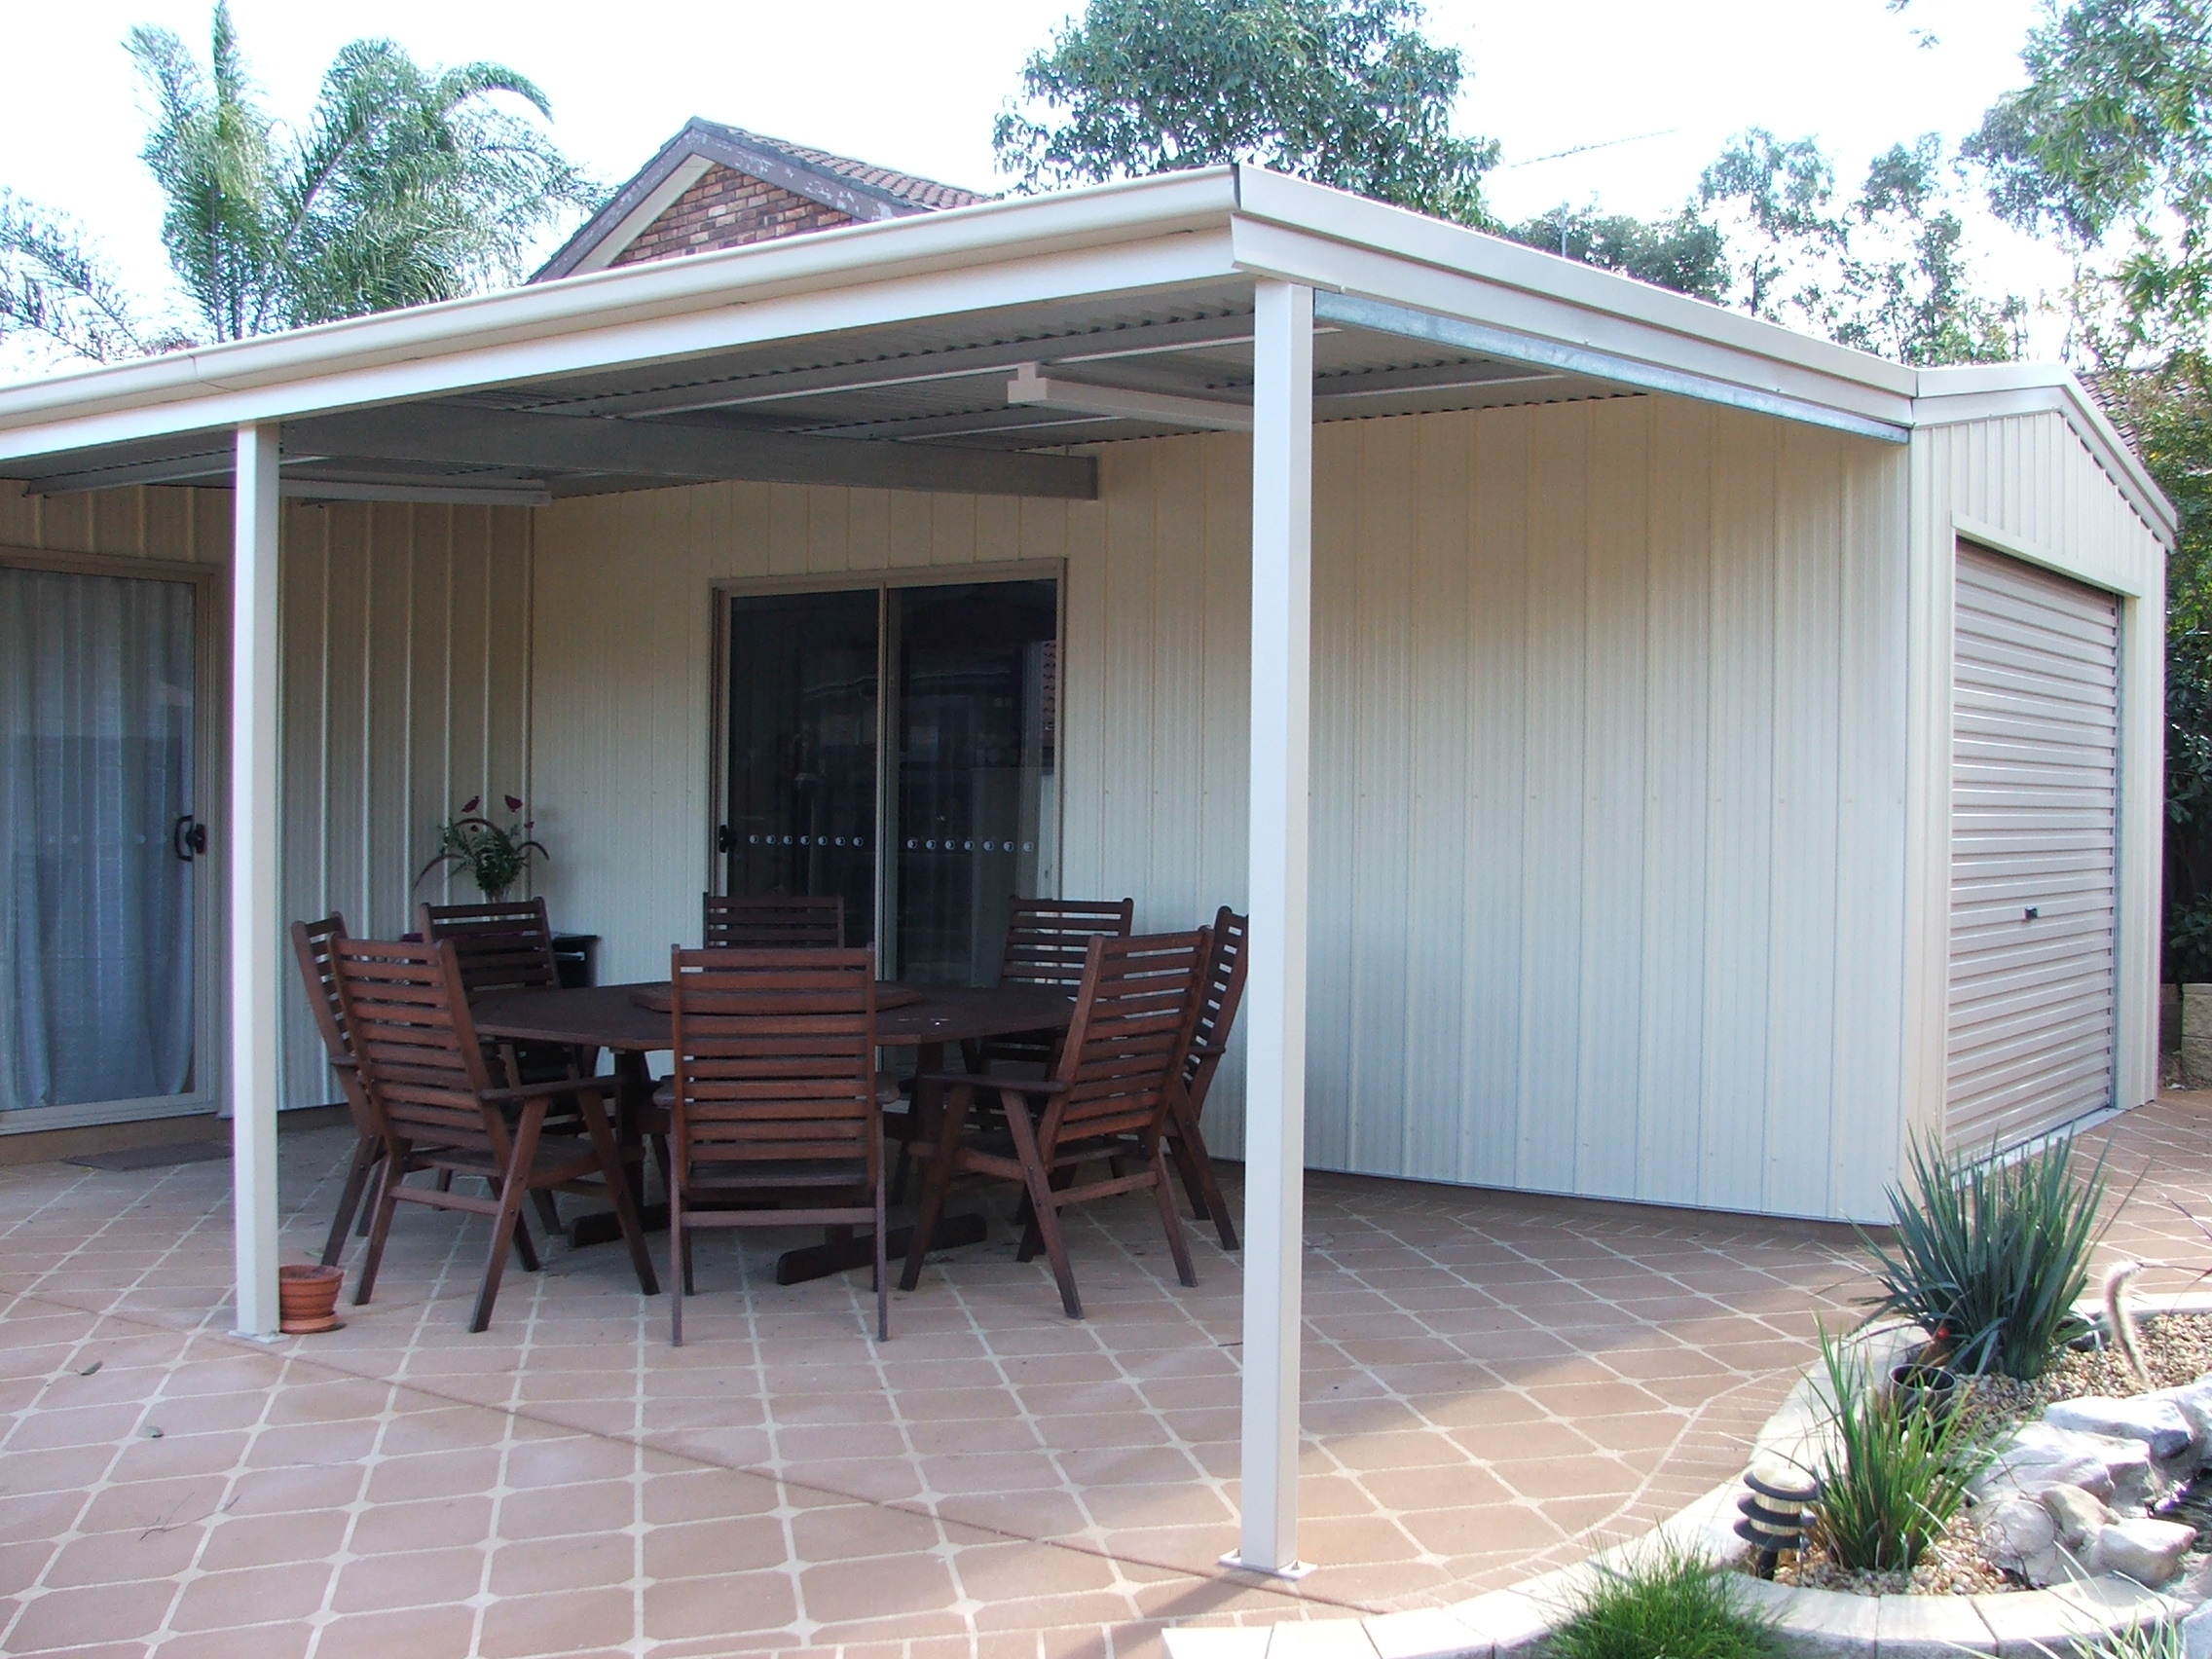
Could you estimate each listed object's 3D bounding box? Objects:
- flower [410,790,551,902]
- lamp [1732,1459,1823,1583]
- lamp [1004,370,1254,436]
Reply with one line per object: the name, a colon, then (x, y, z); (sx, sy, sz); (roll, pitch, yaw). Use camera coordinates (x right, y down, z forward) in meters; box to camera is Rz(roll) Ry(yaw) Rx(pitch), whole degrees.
flower: (-3.350, 0.100, 9.303); (0.424, 0.562, 0.731); (1, 4, 12)
lamp: (1.453, 1.445, 3.697); (0.156, 0.205, 0.356); (2, 5, 23)
lamp: (0.082, -1.461, 5.856); (1.110, 0.144, 0.237); (-3, 5, -37)
